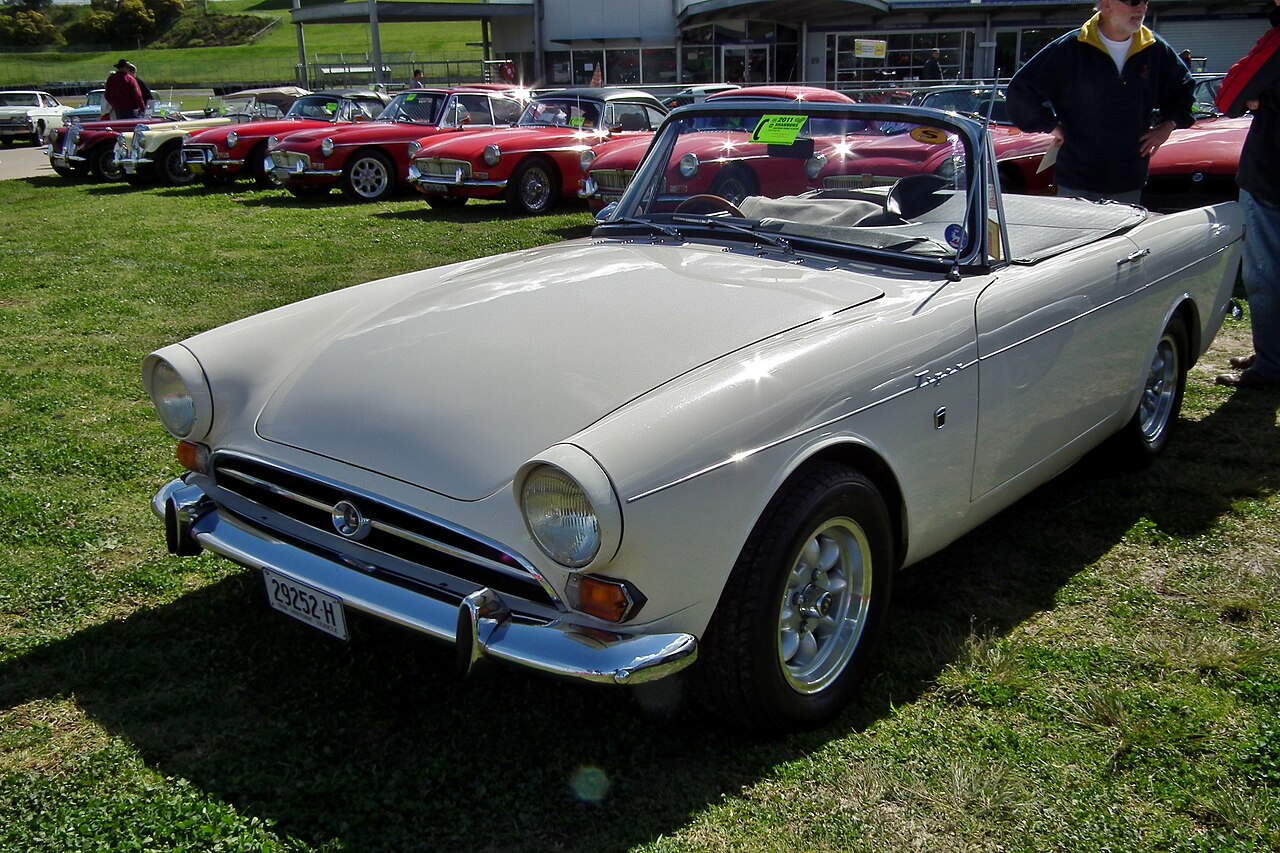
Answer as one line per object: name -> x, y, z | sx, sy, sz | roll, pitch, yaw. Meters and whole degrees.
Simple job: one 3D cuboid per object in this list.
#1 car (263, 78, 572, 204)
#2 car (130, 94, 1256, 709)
car -> -3.324, -4.355, 14.277 | 4.001, 1.443, 1.650 | -15, 23, -34
car -> 0.815, -0.309, 4.308 | 4.521, 1.548, 2.173 | -19, 24, -42
